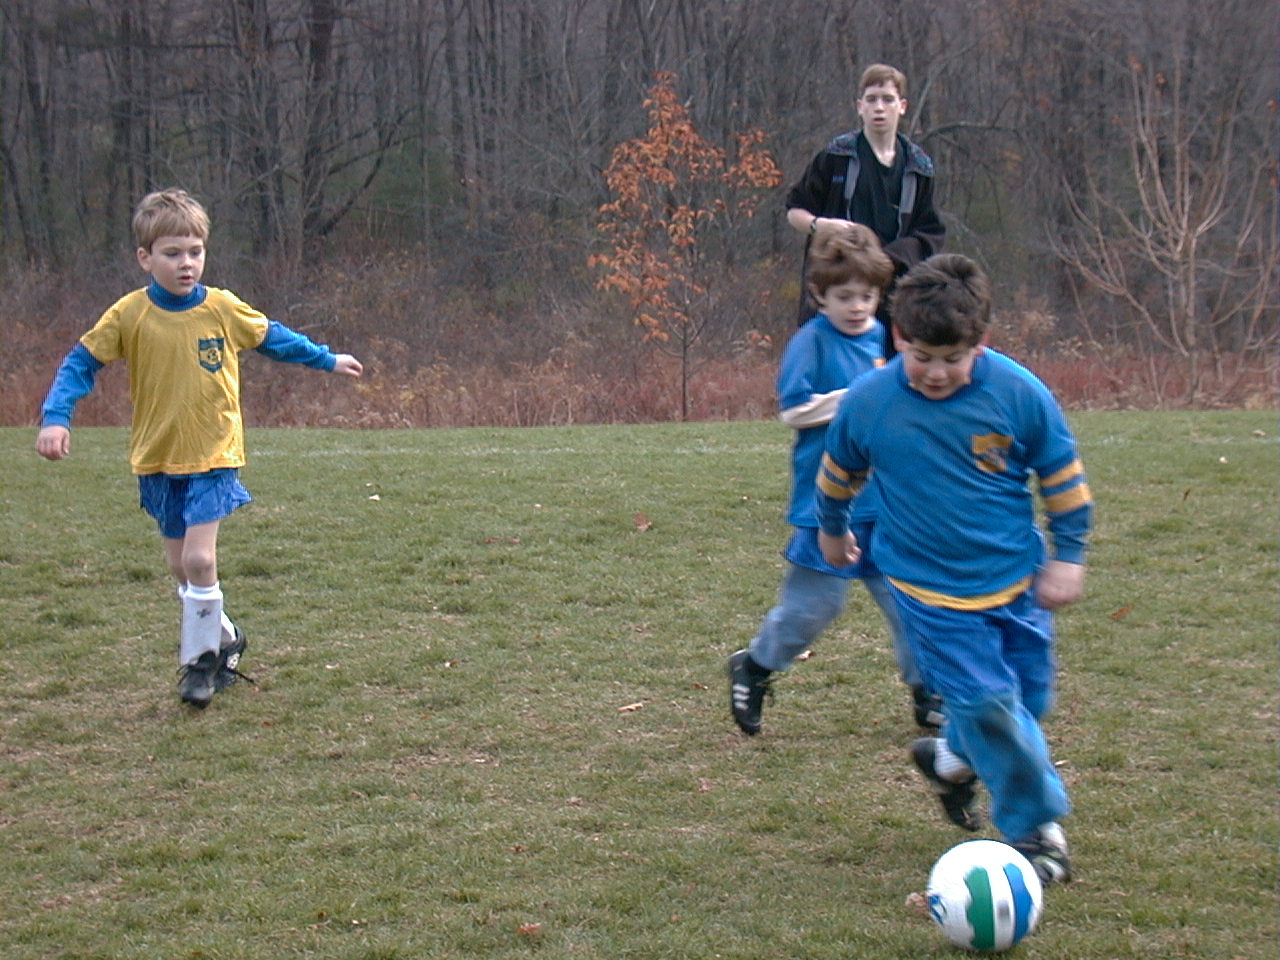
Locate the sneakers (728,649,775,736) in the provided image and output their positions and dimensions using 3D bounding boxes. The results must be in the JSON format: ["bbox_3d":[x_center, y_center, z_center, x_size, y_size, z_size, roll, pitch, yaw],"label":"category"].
[{"bbox_3d":[0.686,1.351,13.222,0.275,0.587,0.213,-6,1,35],"label":"sneakers"}]

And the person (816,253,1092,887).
[{"bbox_3d":[1.901,0.381,12.296,1.485,3.396,0.509,1,7,10],"label":"person"}]

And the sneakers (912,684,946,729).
[{"bbox_3d":[1.834,1.455,13.257,0.277,0.270,0.170,-1,0,40],"label":"sneakers"}]

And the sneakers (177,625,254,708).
[{"bbox_3d":[-2.803,1.251,13.609,0.259,0.295,0.669,34,29,-2],"label":"sneakers"}]

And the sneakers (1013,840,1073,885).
[{"bbox_3d":[2.377,2.218,12.185,0.290,0.121,0.227,28,51,15],"label":"sneakers"}]
